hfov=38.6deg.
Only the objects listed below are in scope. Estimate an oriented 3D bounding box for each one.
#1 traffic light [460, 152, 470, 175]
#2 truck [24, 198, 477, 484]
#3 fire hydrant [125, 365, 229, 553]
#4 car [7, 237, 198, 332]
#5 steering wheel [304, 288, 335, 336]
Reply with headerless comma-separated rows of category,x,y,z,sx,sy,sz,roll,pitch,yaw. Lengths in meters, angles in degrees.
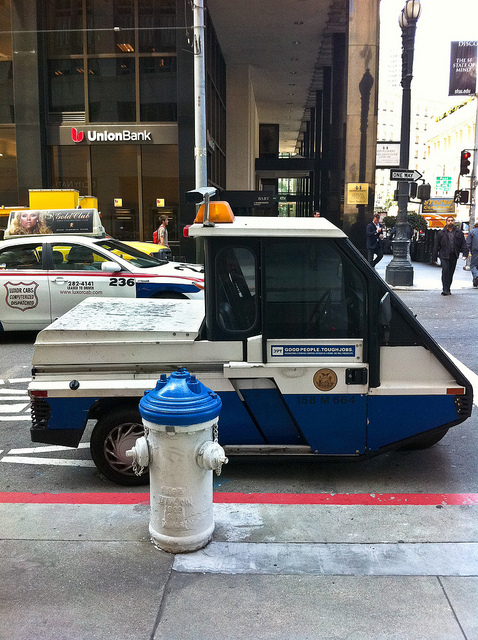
traffic light,8.663,-6.045,26.230,0.323,0.948,1.367,2,6,18
truck,0.011,0.069,5.349,2.700,1.783,1.890,-2,10,-3
fire hydrant,-0.330,0.763,3.732,0.531,0.980,0.373,0,6,1
car,-2.033,-0.613,10.422,2.618,1.236,1.370,-2,6,-3
steering wheel,0.533,-0.049,4.536,0.193,0.308,0.031,0,6,5
